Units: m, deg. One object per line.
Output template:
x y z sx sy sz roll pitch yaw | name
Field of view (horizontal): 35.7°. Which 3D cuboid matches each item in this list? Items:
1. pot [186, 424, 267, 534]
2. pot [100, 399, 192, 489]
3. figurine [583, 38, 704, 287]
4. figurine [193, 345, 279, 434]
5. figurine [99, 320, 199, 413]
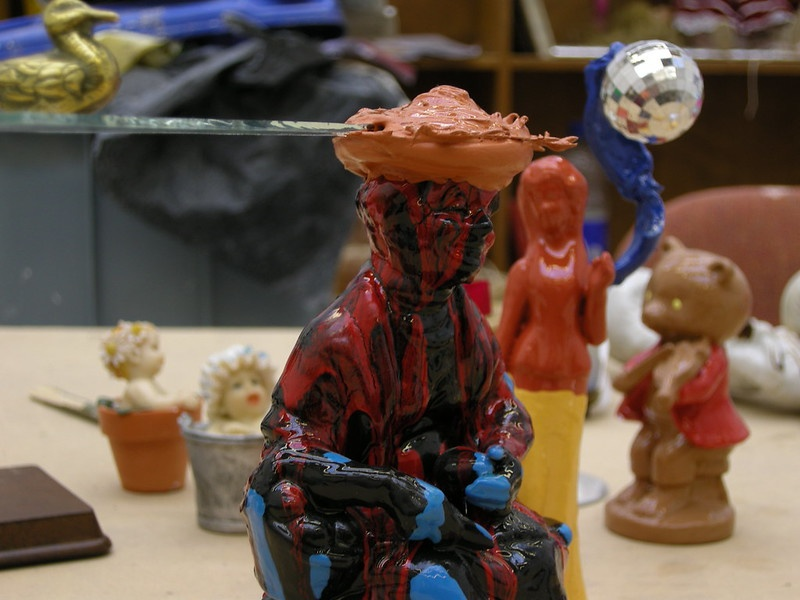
-0.290 0.319 2.227 0.154 0.179 0.168 2 -5 0 | pot
-0.449 0.247 2.119 0.144 0.128 0.145 -12 -15 -3 | pot
0.396 -0.209 2.038 0.163 0.440 0.173 2 21 19 | figurine
-0.296 0.195 2.344 0.152 0.220 0.115 0 -12 -32 | figurine
-0.428 0.115 2.127 0.146 0.175 0.119 -9 4 -19 | figurine
